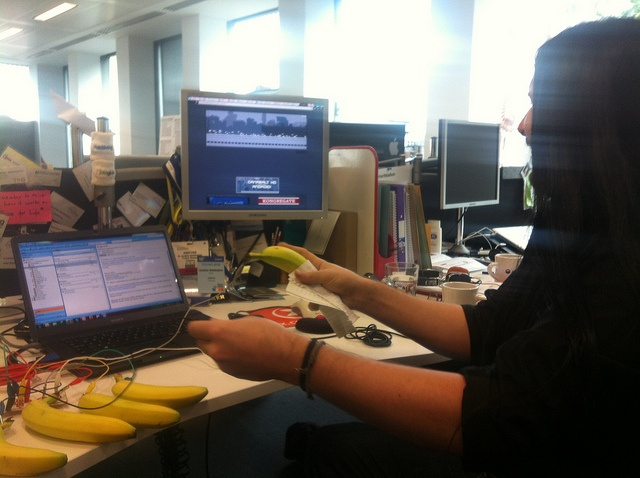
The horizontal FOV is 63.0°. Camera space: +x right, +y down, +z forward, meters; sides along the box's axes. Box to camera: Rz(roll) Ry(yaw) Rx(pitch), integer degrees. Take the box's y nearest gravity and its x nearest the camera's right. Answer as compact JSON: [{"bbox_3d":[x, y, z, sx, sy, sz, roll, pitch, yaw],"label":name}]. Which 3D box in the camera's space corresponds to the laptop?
[{"bbox_3d":[-0.595,0.141,1.426,0.429,0.260,0.391,-8,18,-43],"label":"laptop"}]

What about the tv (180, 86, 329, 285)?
[{"bbox_3d":[-0.246,-0.188,1.846,0.734,0.608,0.074,-2,8,-16],"label":"tv"}]

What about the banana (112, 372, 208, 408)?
[{"bbox_3d":[-0.363,0.342,1.148,0.213,0.068,0.060,7,1,5],"label":"banana"}]

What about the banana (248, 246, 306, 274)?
[{"bbox_3d":[-0.102,0.054,1.410,0.189,0.052,0.055,7,12,0],"label":"banana"}]

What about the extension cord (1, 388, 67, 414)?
[{"bbox_3d":[-0.606,0.348,1.113,0.073,0.021,0.053,-7,14,-30],"label":"extension cord"}]

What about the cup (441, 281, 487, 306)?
[{"bbox_3d":[0.456,0.178,1.697,0.103,0.071,0.067,3,-2,-4],"label":"cup"}]

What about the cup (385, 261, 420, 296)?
[{"bbox_3d":[0.293,0.139,1.835,0.108,0.123,0.115,1,0,0],"label":"cup"}]

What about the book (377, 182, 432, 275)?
[{"bbox_3d":[0.315,-0.032,2.023,0.146,0.382,0.390,-2,2,17],"label":"book"}]

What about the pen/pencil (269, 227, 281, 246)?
[{"bbox_3d":[-0.176,-0.009,1.993,0.011,0.076,0.012,14,-21,7],"label":"pen/pencil"}]
